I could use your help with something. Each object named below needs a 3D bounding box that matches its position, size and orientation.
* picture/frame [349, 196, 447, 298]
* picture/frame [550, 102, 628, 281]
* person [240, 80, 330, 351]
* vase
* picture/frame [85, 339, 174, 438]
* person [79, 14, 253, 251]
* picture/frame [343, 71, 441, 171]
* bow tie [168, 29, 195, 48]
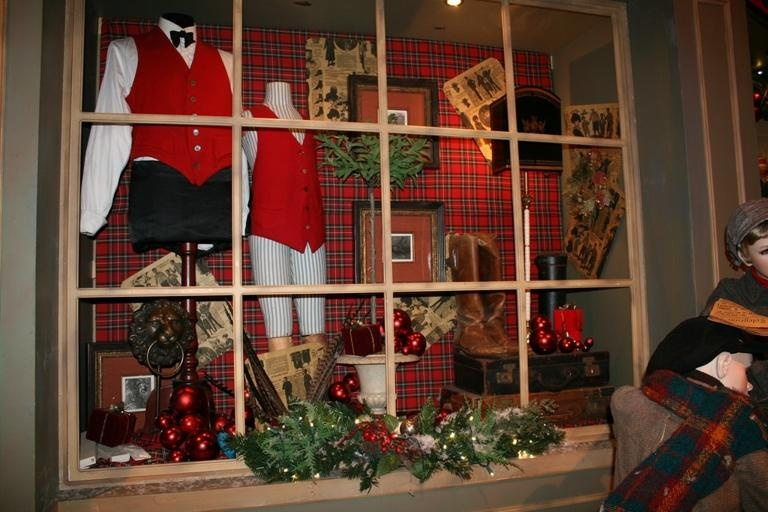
[{"bbox_3d":[0.088,-0.043,3.570,0.498,0.450,0.062,0,-4,-18],"label":"picture/frame"},{"bbox_3d":[1.083,-0.341,3.577,0.237,0.830,0.593,-2,-1,-18],"label":"picture/frame"},{"bbox_3d":[-0.469,-0.194,3.178,0.381,1.280,0.267,-2,-1,-12],"label":"person"},{"bbox_3d":[-0.039,0.639,3.182,0.360,0.293,0.351,7,-17,-29],"label":"vase"},{"bbox_3d":[-1.175,0.623,3.086,0.473,0.527,0.054,-1,-5,-15],"label":"picture/frame"},{"bbox_3d":[-0.976,-0.562,2.981,0.690,1.044,0.215,-2,-1,-5],"label":"person"},{"bbox_3d":[0.018,-0.689,3.451,0.616,0.626,0.064,1,-7,-13],"label":"picture/frame"},{"bbox_3d":[-0.916,-0.972,3.011,0.091,0.070,0.016,-2,6,-13],"label":"bow tie"}]
